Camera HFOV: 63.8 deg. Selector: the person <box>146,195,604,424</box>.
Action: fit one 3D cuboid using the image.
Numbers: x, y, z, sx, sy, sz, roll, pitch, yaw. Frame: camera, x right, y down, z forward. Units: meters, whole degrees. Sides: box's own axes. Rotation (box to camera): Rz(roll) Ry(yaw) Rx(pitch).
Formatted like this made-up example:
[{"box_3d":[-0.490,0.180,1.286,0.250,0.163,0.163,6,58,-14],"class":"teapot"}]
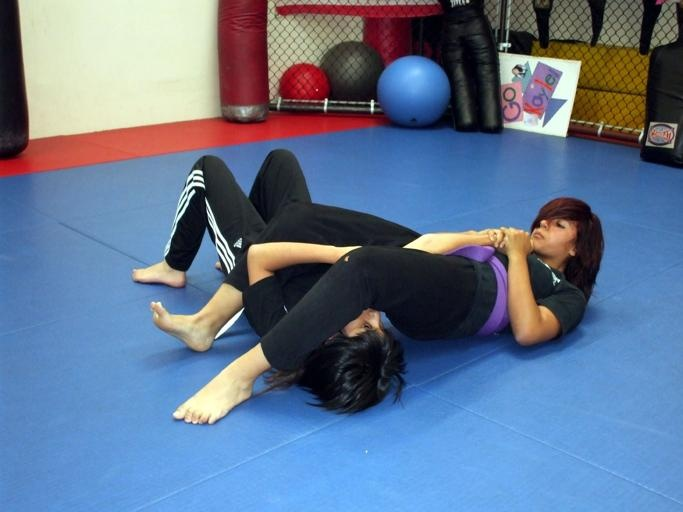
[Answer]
[{"box_3d":[0.261,0.083,2.015,1.457,0.572,0.814,-18,20,-13],"class":"person"}]
